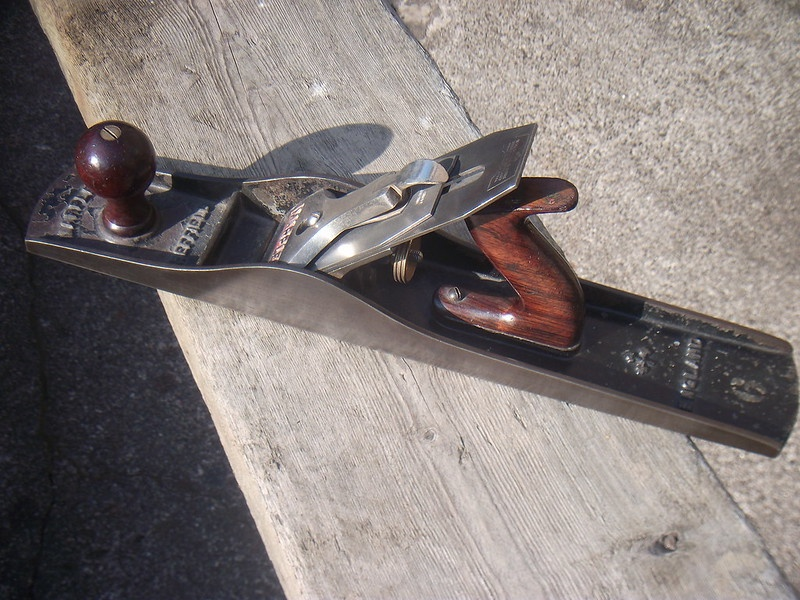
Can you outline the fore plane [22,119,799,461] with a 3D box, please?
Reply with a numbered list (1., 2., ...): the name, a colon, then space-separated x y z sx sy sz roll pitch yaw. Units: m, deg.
1. fore plane: -0.067 -0.199 3.104 2.613 1.334 1.056 -5 -64 -6
